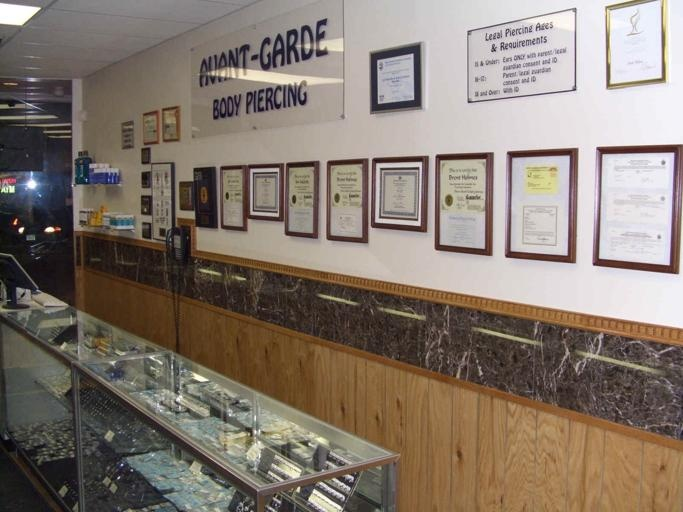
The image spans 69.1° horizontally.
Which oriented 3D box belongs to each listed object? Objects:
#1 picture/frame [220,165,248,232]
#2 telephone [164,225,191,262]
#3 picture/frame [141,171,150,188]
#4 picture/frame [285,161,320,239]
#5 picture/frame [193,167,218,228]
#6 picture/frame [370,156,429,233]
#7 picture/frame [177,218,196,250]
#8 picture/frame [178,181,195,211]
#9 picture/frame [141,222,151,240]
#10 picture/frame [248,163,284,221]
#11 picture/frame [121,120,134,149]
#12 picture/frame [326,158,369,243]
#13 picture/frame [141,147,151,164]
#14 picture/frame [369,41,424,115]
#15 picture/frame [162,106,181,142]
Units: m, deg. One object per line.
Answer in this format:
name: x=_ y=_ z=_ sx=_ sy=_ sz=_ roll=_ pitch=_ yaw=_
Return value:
picture/frame: x=-0.855 y=-0.472 z=3.974 sx=0.063 sy=0.663 sz=0.436 roll=-4 pitch=7 yaw=-41
telephone: x=-1.514 y=-0.097 z=4.633 sx=0.221 sy=0.361 sz=0.172 roll=0 pitch=0 yaw=10
picture/frame: x=-2.026 y=-0.794 z=5.128 sx=0.022 sy=0.192 sz=0.162 roll=0 pitch=2 yaw=-41
picture/frame: x=-0.258 y=-0.392 z=3.388 sx=0.045 sy=0.770 sz=0.442 roll=-4 pitch=5 yaw=-41
picture/frame: x=-1.167 y=-0.515 z=4.283 sx=0.076 sy=0.689 sz=0.443 roll=-2 pitch=5 yaw=-33
picture/frame: x=0.346 y=-0.355 z=2.821 sx=0.030 sy=0.469 sz=0.370 roll=-3 pitch=6 yaw=-45
picture/frame: x=-1.424 y=-0.211 z=4.598 sx=0.100 sy=0.284 sz=0.394 roll=-11 pitch=16 yaw=-28
picture/frame: x=-1.421 y=-0.556 z=4.562 sx=0.024 sy=0.266 sz=0.244 roll=0 pitch=2 yaw=-35
picture/frame: x=-2.053 y=-0.266 z=5.212 sx=0.078 sy=0.180 sz=0.154 roll=1 pitch=0 yaw=-44
picture/frame: x=-0.549 y=-0.478 z=3.675 sx=0.031 sy=0.458 sz=0.374 roll=-1 pitch=3 yaw=-44
picture/frame: x=-2.313 y=-1.314 z=5.372 sx=0.078 sy=0.296 sz=0.349 roll=-13 pitch=17 yaw=-35
picture/frame: x=0.050 y=-0.355 z=3.100 sx=0.047 sy=0.738 sz=0.439 roll=-3 pitch=5 yaw=-43
picture/frame: x=-2.008 y=-1.026 z=5.093 sx=0.187 sy=0.174 sz=0.031 roll=8 pitch=18 yaw=43
picture/frame: x=0.322 y=-1.003 z=2.784 sx=0.041 sy=0.427 sz=0.392 roll=-4 pitch=7 yaw=-41
picture/frame: x=-1.596 y=-1.247 z=4.658 sx=0.033 sy=0.369 sz=0.293 roll=0 pitch=6 yaw=-43
